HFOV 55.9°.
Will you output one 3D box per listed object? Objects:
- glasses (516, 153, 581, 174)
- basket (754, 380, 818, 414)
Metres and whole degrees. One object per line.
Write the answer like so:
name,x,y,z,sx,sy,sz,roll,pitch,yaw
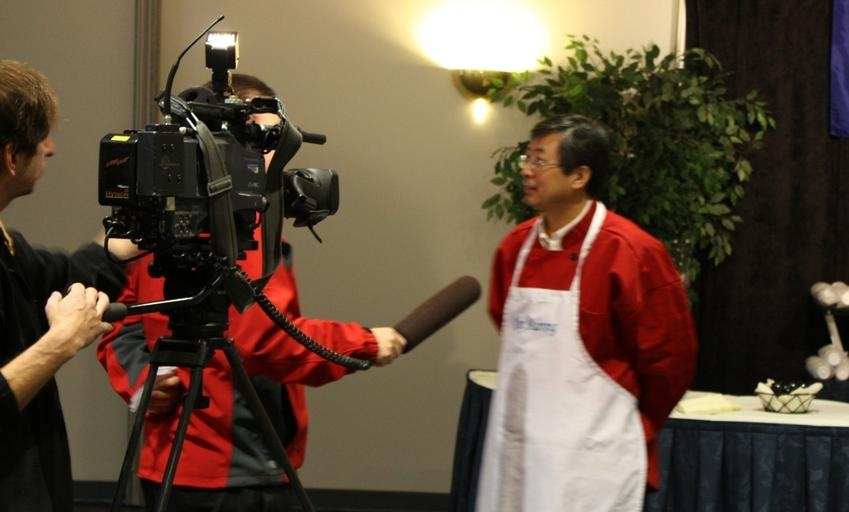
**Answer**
glasses,0.590,-0.438,3.861,0.162,0.045,0.156,8,1,-9
basket,2.045,0.791,4.521,0.214,0.103,0.217,0,-2,36
